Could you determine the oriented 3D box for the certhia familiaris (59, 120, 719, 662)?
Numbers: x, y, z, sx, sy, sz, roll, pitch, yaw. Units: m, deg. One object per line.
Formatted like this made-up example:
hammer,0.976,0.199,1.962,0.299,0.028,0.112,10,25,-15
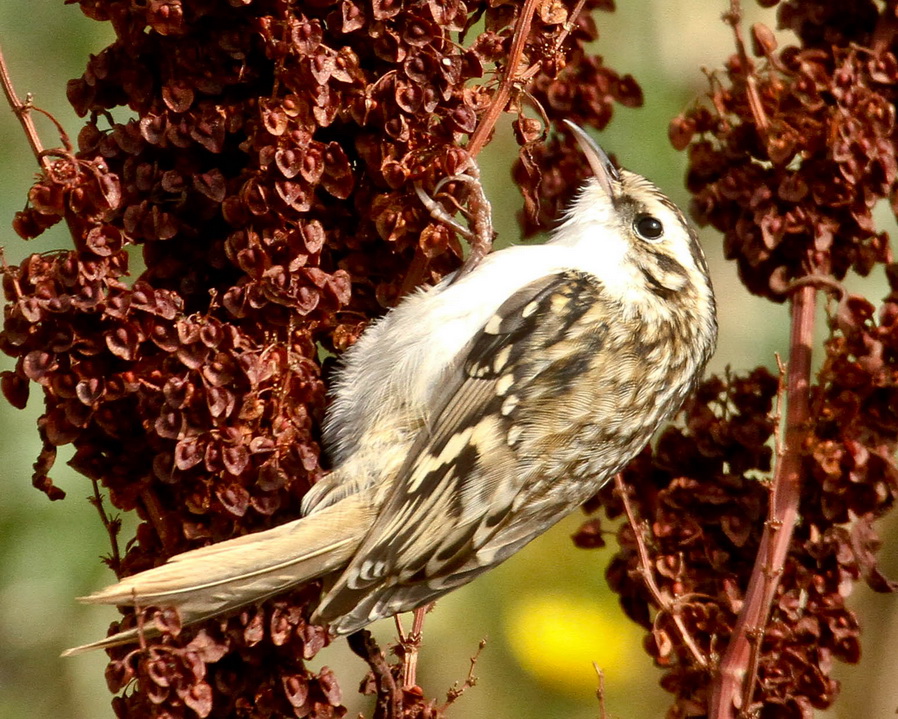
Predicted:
certhia familiaris,-0.159,0.051,4.414,1.889,0.601,1.008,-29,61,-3
